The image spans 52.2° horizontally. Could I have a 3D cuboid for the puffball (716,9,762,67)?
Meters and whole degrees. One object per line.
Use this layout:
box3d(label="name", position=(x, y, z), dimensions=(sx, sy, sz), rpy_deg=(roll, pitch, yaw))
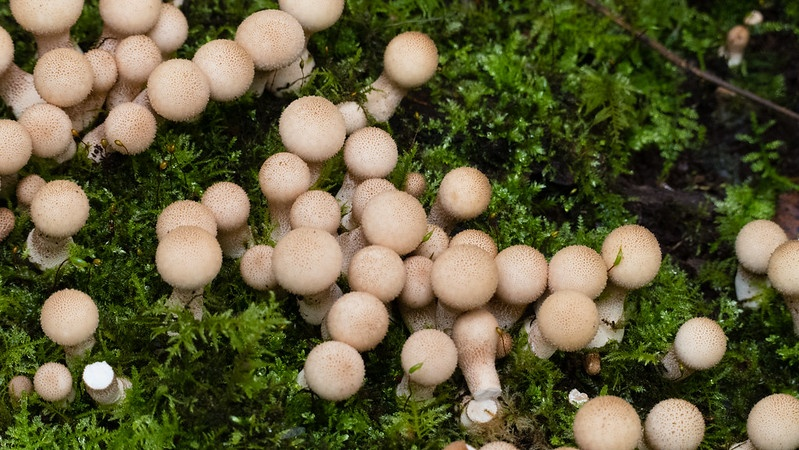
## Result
box3d(label="puffball", position=(3.040, -1.678, 7.309), dimensions=(0.246, 0.548, 0.169), rpy_deg=(38, 19, 25))

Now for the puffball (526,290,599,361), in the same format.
box3d(label="puffball", position=(1.261, 0.799, 6.339), dimensions=(0.407, 0.559, 0.455), rpy_deg=(-34, 73, -29))

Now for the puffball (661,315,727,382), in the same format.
box3d(label="puffball", position=(2.337, 1.012, 6.513), dimensions=(0.415, 0.480, 0.395), rpy_deg=(-23, 68, -25))
